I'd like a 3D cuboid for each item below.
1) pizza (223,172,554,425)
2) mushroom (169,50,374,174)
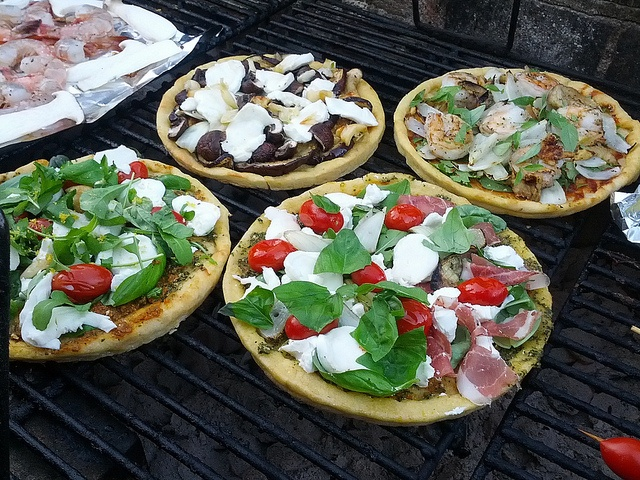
[{"bbox_3d":[0.309,0.196,2.558,1.394,0.268,1.233,-18,59,-10],"label":"pizza"},{"bbox_3d":[-0.274,-0.700,3.214,0.870,0.248,0.905,37,58,26],"label":"mushroom"}]
